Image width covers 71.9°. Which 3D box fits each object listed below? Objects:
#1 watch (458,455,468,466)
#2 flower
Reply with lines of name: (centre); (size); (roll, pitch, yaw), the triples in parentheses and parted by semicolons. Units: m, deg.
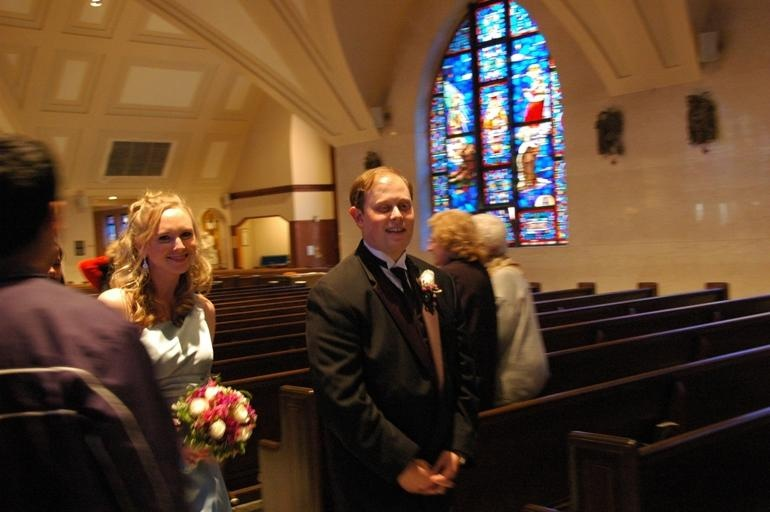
watch: (0.260, 0.687, 1.770); (0.037, 0.033, 0.036); (0, 3, 16)
flower: (-0.659, 0.625, 2.022); (0.354, 0.280, 0.318); (14, 0, -21)
